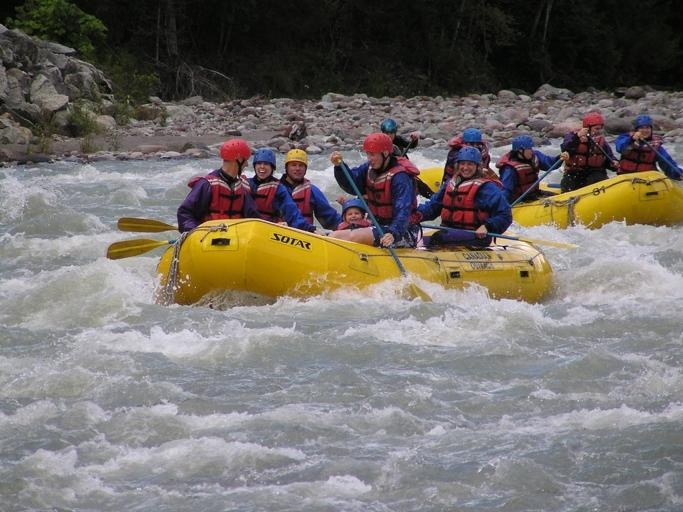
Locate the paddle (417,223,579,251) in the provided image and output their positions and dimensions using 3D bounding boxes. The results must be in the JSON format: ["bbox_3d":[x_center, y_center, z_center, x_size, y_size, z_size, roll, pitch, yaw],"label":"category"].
[{"bbox_3d":[1.870,-0.226,12.093,2.115,0.066,0.170,7,34,-9],"label":"paddle"}]

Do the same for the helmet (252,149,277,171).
[{"bbox_3d":[-0.954,-1.094,11.574,0.350,0.310,0.257,1,32,3],"label":"helmet"}]

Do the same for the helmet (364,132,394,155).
[{"bbox_3d":[0.394,-1.261,11.221,0.393,0.144,0.228,2,1,-9],"label":"helmet"}]

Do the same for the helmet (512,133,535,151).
[{"bbox_3d":[2.492,-1.570,13.752,0.368,0.136,0.202,-4,14,2],"label":"helmet"}]

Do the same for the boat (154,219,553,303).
[{"bbox_3d":[0.158,0.103,10.906,3.034,0.414,1.558,4,-2,-29],"label":"boat"}]

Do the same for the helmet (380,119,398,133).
[{"bbox_3d":[0.627,-1.768,13.479,0.242,0.192,0.220,1,-18,2],"label":"helmet"}]

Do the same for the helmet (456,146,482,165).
[{"bbox_3d":[1.471,-1.174,11.528,0.256,0.131,0.270,6,3,6],"label":"helmet"}]
